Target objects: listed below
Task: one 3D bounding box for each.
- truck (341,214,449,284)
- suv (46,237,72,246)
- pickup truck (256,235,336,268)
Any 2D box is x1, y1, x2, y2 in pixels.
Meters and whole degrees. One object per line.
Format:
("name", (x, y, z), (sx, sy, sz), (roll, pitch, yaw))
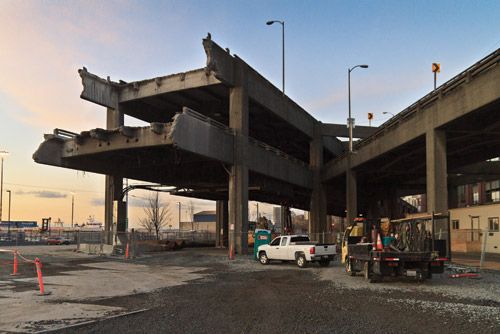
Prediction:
("truck", (7.726, 4.750, 28.044), (3.420, 3.229, 5.856), (3, -8, -18))
("suv", (-27.028, 10.211, 66.007), (2.689, 1.009, 1.422), (-6, -9, 13))
("pickup truck", (3.246, 5.972, 34.561), (4.674, 1.834, 2.491), (-6, -12, 43))
